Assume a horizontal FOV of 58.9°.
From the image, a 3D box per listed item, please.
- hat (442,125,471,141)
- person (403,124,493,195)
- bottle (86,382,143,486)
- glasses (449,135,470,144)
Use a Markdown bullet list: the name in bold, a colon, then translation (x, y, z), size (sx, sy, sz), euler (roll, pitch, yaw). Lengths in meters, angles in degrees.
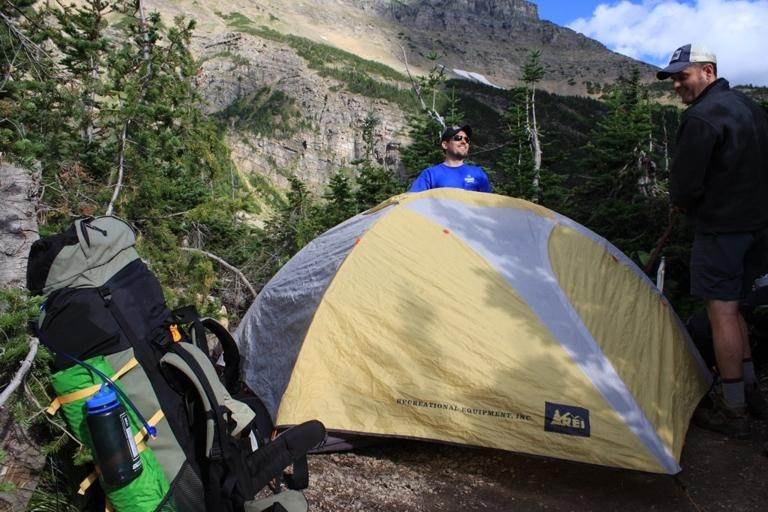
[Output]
- **hat**: translation (1.073, -1.868, 10.230), size (0.450, 0.249, 0.479), euler (1, 16, 3)
- **person**: translation (1.074, -1.443, 10.360), size (1.359, 1.081, 0.648), euler (2, -9, -9)
- **bottle**: translation (-2.581, 1.716, 6.439), size (0.402, 0.810, 0.316), euler (15, 22, 43)
- **glasses**: translation (1.090, -1.774, 10.184), size (0.150, 0.156, 0.046), euler (10, 50, -27)
